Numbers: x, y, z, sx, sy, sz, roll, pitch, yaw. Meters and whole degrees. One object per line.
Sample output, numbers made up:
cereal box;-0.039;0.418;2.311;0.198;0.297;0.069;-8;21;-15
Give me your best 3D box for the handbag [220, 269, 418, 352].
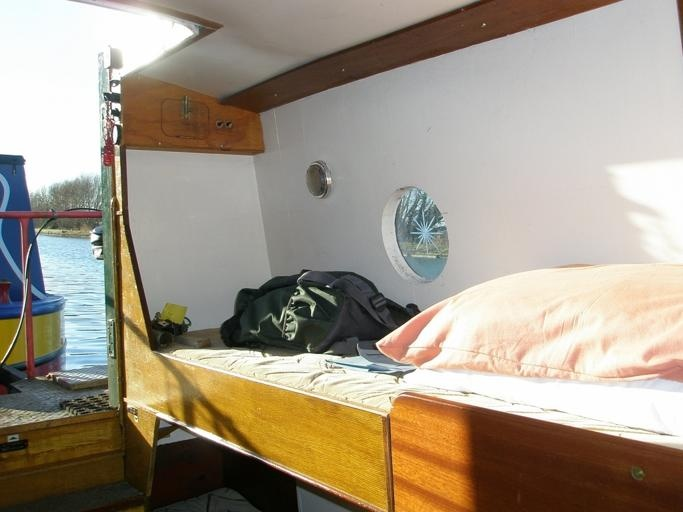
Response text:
handbag;-0.135;0.326;2.674;0.638;0.257;0.721;-2;-3;29
